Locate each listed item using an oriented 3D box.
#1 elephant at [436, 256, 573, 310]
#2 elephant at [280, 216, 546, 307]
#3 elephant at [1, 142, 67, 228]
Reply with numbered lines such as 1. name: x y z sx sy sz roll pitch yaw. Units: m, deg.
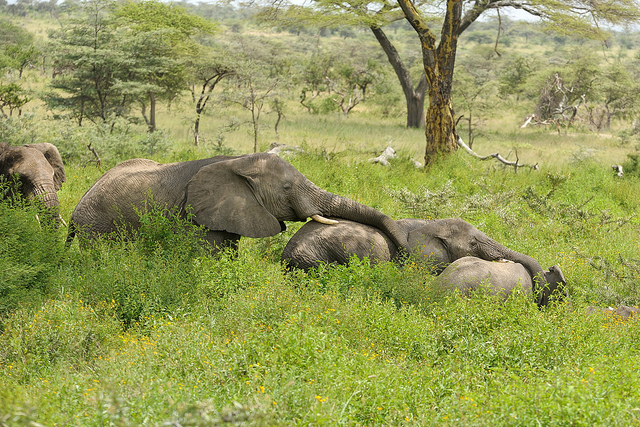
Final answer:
1. elephant: 3.139 1.044 12.197 2.137 1.186 0.980 -1 4 -27
2. elephant: 1.584 0.755 12.917 4.516 1.786 1.813 -3 9 -4
3. elephant: -5.006 -0.594 13.079 1.146 1.127 1.905 -11 19 -43
